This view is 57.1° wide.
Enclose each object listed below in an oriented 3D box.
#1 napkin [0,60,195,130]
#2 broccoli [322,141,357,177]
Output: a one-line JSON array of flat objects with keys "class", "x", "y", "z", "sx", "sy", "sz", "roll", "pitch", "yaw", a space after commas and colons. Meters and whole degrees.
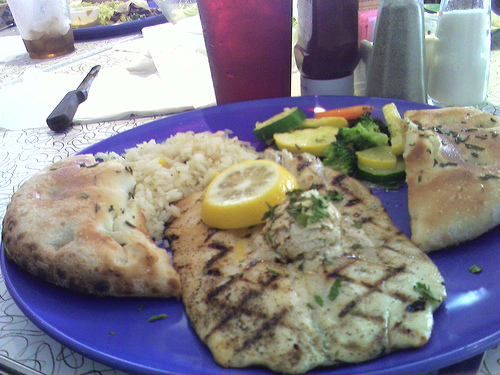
[{"class": "napkin", "x": -0.793, "y": -0.547, "z": 2.451, "sx": 0.712, "sy": 0.034, "sz": 0.642, "roll": 16, "pitch": 32, "yaw": 22}, {"class": "broccoli", "x": 0.350, "y": -0.112, "z": 1.726, "sx": 0.131, "sy": 0.040, "sz": 0.129, "roll": 8, "pitch": 59, "yaw": 2}]
